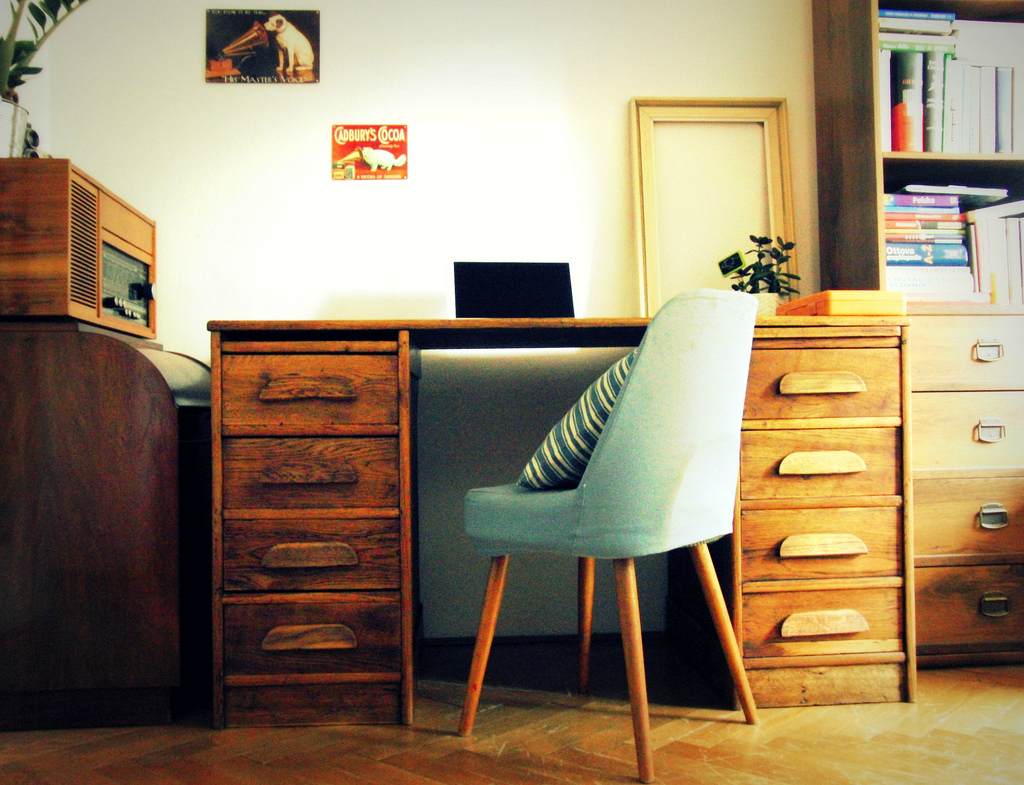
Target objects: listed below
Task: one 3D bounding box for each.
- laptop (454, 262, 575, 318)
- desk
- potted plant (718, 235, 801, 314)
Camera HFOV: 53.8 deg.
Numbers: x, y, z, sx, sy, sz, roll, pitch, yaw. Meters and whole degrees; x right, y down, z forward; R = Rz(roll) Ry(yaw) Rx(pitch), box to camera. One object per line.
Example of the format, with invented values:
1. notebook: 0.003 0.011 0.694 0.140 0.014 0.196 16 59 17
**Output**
1. laptop: 0.002 -0.332 3.256 0.381 0.184 0.008 1 20 10
2. desk: 0.125 0.388 3.196 2.152 1.089 0.733 0 -3 -14
3. potted plant: 0.789 -0.377 3.366 0.292 0.249 0.273 -1 0 -1
